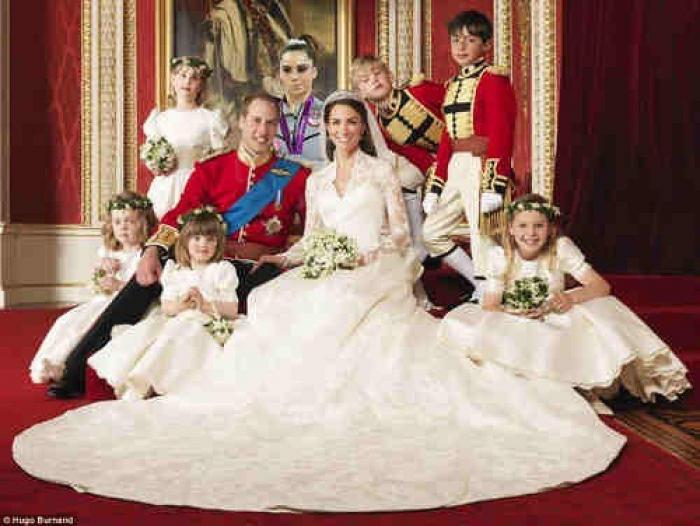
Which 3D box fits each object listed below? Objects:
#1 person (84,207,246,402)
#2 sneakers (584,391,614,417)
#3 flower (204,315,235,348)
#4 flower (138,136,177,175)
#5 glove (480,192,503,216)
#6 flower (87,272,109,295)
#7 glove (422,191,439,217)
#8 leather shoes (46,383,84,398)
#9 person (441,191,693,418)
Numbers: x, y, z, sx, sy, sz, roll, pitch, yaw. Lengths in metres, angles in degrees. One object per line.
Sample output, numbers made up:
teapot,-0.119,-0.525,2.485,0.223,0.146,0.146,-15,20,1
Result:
person,-1.003,0.214,3.985,0.584,1.011,0.774,9,8,37
sneakers,1.280,0.719,3.756,0.068,0.093,0.227,-8,9,-6
flower,-0.719,0.358,3.967,0.155,0.148,0.154,17,0,-18
flower,-1.488,-0.821,5.590,0.265,0.273,0.128,-6,-3,-17
glove,0.867,-0.364,4.416,0.104,0.121,0.128,-8,-7,4
flower,-1.562,0.119,4.447,0.102,0.136,0.048,1,-18,-10
glove,0.524,-0.386,4.674,0.091,0.139,0.064,15,-2,1
leather shoes,-1.607,0.738,4.104,0.232,0.070,0.084,23,-15,-41
person,1.070,0.204,3.910,1.221,1.130,0.871,-8,6,17
